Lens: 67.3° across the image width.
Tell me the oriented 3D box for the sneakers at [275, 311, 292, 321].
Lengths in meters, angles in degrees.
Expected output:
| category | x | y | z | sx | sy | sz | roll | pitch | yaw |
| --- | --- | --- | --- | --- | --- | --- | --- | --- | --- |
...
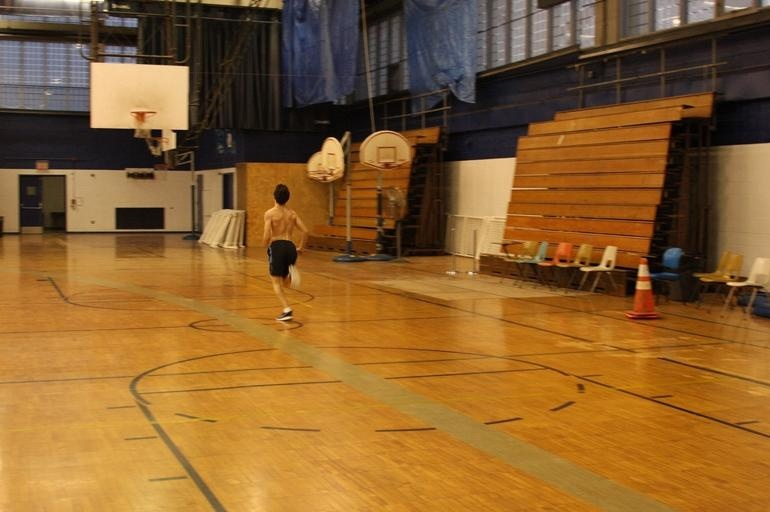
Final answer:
| category | x | y | z | sx | sy | sz | roll | pitch | yaw |
| --- | --- | --- | --- | --- | --- | --- | --- | --- | --- |
| sneakers | -1.277 | 0.757 | 7.404 | 0.182 | 0.137 | 0.147 | 3 | 8 | -15 |
